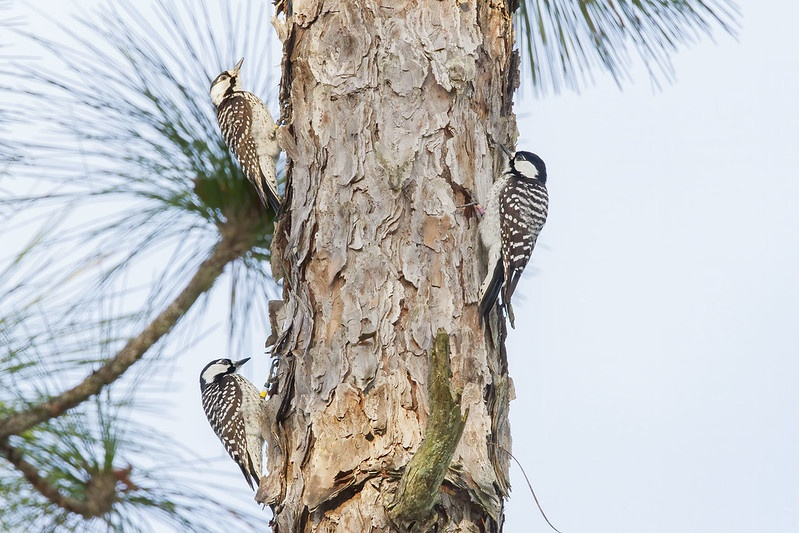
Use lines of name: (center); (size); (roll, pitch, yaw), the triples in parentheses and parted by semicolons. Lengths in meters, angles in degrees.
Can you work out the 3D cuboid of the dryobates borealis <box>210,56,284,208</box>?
dryobates borealis: (-0.921, -0.710, 7.726); (0.533, 0.804, 0.980); (-8, -71, -2)
